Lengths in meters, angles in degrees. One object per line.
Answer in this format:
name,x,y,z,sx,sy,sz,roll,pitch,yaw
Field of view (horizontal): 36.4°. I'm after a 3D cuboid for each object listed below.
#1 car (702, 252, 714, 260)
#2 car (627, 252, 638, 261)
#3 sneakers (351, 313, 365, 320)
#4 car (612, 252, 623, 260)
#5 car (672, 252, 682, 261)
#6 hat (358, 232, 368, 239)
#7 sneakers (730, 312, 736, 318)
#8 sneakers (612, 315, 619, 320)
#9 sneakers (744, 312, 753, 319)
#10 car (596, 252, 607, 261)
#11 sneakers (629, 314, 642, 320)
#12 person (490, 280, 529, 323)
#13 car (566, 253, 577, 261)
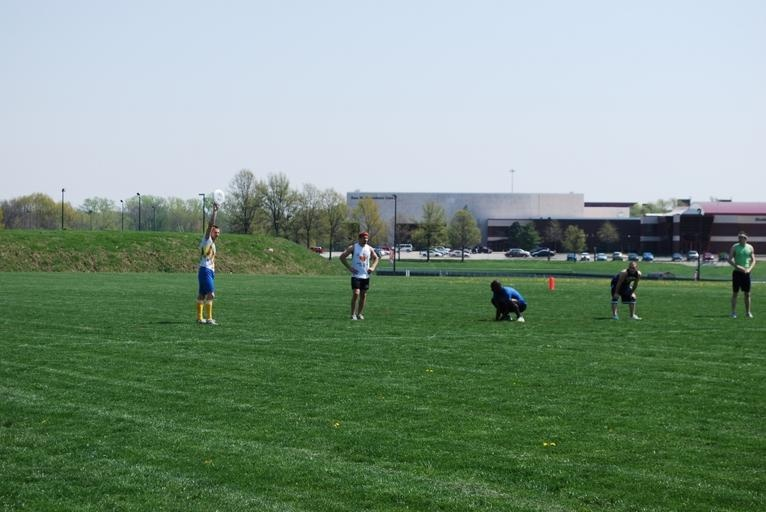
car,32.987,0.070,118.075,1.252,0.692,2.277,-1,0,4
car,26.661,-0.005,124.257,0.934,0.697,2.067,0,0,8
sneakers,-0.686,1.696,32.500,0.141,0.153,0.346,2,-6,-35
car,25.475,0.145,126.234,1.266,0.916,2.853,0,1,12
car,29.834,-0.074,118.054,1.124,0.906,1.961,-1,-3,10
hat,-0.536,-0.583,31.664,0.236,0.209,0.232,-3,-1,15
sneakers,10.167,1.716,33.793,0.099,0.130,0.307,-2,-5,9
sneakers,6.676,1.751,33.413,0.166,0.127,0.125,-2,2,27
sneakers,10.657,1.696,33.814,0.123,0.173,0.414,3,9,6
car,24.052,0.148,128.076,1.010,0.790,2.182,2,7,16
sneakers,7.321,1.749,33.477,0.331,0.137,0.111,0,3,-29
person,3.524,1.228,32.742,1.159,1.145,1.026,5,-7,-24
car,20.107,0.104,123.446,1.276,0.854,1.993,0,1,8
